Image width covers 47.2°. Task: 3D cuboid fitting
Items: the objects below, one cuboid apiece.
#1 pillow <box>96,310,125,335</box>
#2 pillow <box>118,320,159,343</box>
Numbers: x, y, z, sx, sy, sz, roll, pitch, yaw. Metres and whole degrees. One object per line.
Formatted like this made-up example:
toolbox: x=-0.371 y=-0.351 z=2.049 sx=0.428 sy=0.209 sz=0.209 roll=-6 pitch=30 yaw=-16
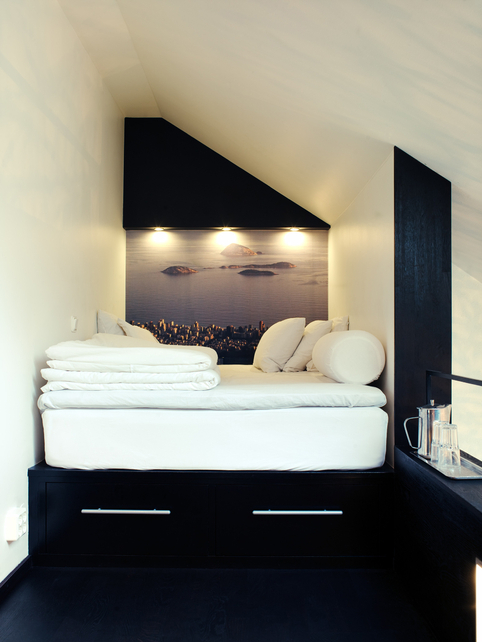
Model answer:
pillow: x=-0.814 y=0.018 z=3.416 sx=0.174 sy=0.144 sz=0.096 roll=-2 pitch=5 yaw=-22
pillow: x=-0.627 y=0.078 z=3.364 sx=0.178 sy=0.053 sz=0.170 roll=28 pitch=-1 yaw=-24
